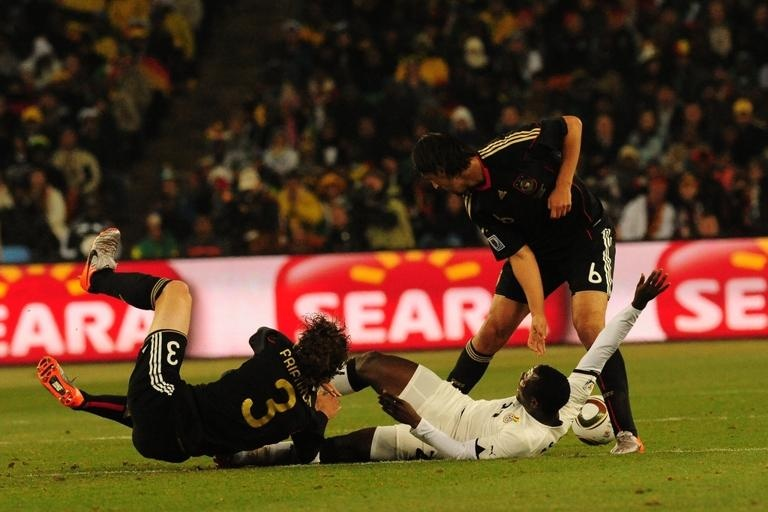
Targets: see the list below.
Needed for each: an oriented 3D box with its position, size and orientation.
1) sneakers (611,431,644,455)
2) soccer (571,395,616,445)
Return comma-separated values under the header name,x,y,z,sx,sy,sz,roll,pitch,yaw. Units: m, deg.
name,x,y,z,sx,sy,sz,roll,pitch,yaw
sneakers,2.394,1.862,11.698,0.180,0.154,0.326,-9,-11,28
soccer,2.087,1.626,11.784,0.457,0.378,0.390,-6,26,-38
